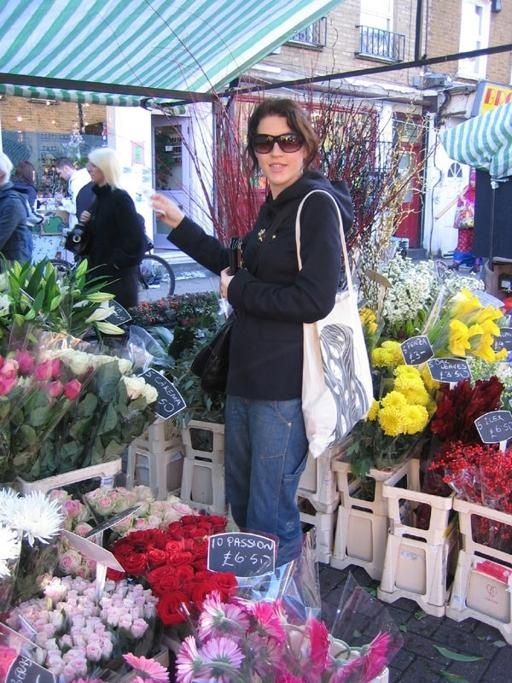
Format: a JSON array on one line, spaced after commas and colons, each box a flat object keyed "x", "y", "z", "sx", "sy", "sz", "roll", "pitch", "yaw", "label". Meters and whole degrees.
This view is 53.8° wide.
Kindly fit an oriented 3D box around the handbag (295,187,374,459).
[{"x": 0.252, "y": -0.050, "z": 1.546, "sx": 0.316, "sy": 0.786, "sz": 0.160, "roll": -5, "pitch": 13, "yaw": -35, "label": "handbag"}]

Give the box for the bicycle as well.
[{"x": -1.180, "y": -0.584, "z": 4.242, "sx": 1.251, "sy": 0.725, "sz": 0.590, "roll": -3, "pitch": -1, "yaw": -12, "label": "bicycle"}]
